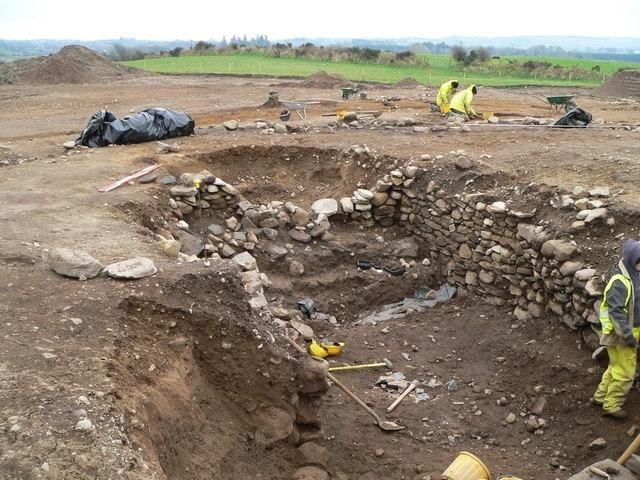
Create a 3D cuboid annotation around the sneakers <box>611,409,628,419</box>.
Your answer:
[{"bbox_3d":[3.737,2.193,6.468,0.192,0.174,0.098,-6,5,31],"label":"sneakers"}]

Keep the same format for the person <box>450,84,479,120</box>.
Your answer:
[{"bbox_3d":[4.243,-4.139,15.301,0.811,0.858,0.654,3,21,-5],"label":"person"}]

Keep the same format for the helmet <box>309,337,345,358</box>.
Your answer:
[{"bbox_3d":[0.019,1.725,8.223,0.378,0.172,0.342,0,1,33],"label":"helmet"}]

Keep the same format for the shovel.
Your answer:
[{"bbox_3d":[0.328,2.111,7.455,0.310,1.798,0.230,-55,8,-23],"label":"shovel"}]
